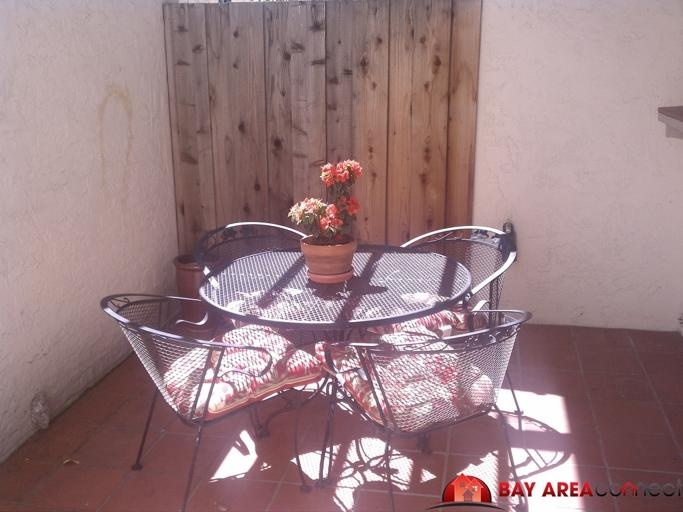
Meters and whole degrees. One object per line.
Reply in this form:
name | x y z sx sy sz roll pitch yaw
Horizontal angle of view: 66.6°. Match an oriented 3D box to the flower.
flower | -0.079 -0.264 2.656 0.305 0.436 0.284 -6 21 -15
